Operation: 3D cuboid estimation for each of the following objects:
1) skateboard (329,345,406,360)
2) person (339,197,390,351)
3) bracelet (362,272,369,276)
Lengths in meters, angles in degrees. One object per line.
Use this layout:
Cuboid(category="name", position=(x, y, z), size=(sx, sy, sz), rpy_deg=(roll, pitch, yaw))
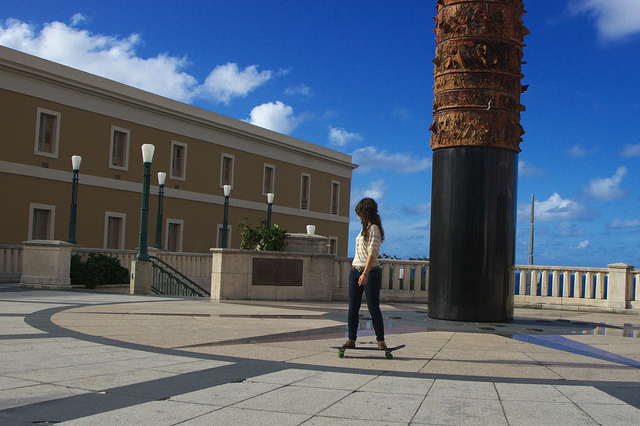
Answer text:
Cuboid(category="skateboard", position=(0.691, 2.298, 9.402), size=(1.600, 0.260, 0.363), rpy_deg=(-1, -3, 8))
Cuboid(category="person", position=(0.757, 1.026, 9.689), size=(0.761, 2.611, 0.499), rpy_deg=(0, -7, 5))
Cuboid(category="bracelet", position=(0.763, 1.023, 9.518), size=(0.106, 0.064, 0.145), rpy_deg=(0, -7, 5))
